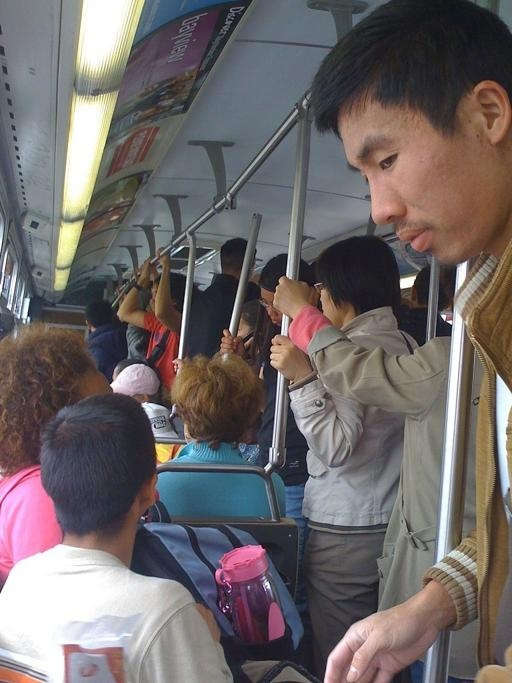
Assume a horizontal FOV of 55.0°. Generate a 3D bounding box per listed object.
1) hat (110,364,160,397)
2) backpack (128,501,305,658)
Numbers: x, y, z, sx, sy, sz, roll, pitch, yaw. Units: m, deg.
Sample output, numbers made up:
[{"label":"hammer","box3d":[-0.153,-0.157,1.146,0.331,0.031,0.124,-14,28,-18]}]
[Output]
[{"label":"hat","box3d":[-0.934,0.292,3.813,0.341,0.200,0.220,9,24,-24]},{"label":"backpack","box3d":[-0.152,0.623,1.490,0.550,0.499,0.377,-2,-4,0]}]
